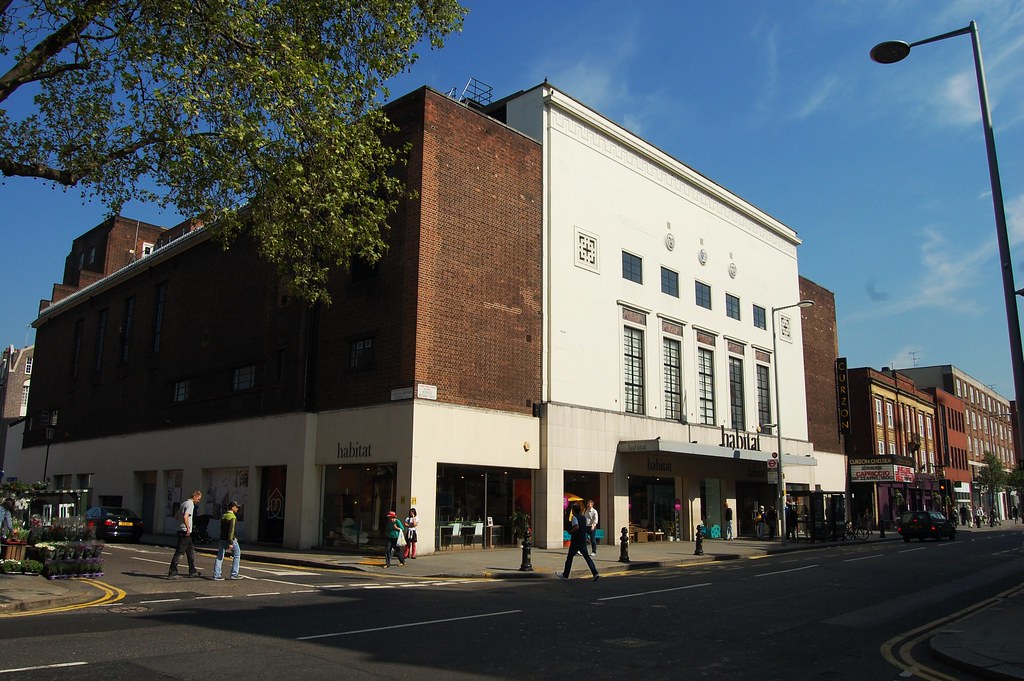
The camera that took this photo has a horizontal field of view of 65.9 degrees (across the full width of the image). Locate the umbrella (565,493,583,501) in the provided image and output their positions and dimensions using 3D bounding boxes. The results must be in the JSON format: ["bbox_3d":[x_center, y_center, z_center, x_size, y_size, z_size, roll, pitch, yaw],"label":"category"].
[{"bbox_3d":[2.923,7.460,37.677,0.335,0.475,1.154,-12,-20,33],"label":"umbrella"}]

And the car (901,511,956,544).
[{"bbox_3d":[25.384,11.309,48.369,4.346,1.783,1.757,9,-20,-31],"label":"car"}]

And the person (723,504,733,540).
[{"bbox_3d":[12.557,10.401,45.917,0.706,1.801,0.229,14,-22,-43],"label":"person"}]

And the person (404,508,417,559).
[{"bbox_3d":[-3.934,7.526,31.198,0.478,1.908,1.020,1,-16,-7],"label":"person"}]
